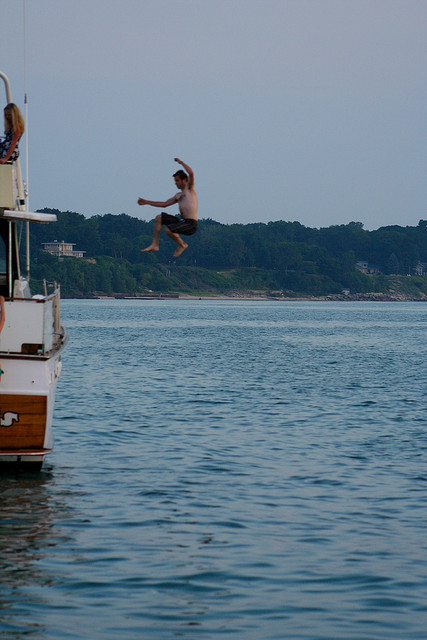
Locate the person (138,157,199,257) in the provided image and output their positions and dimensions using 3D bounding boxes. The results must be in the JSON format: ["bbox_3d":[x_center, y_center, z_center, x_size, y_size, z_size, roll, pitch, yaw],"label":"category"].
[{"bbox_3d":[-0.515,-1.224,13.948,0.616,1.039,1.166,1,3,-2],"label":"person"}]
